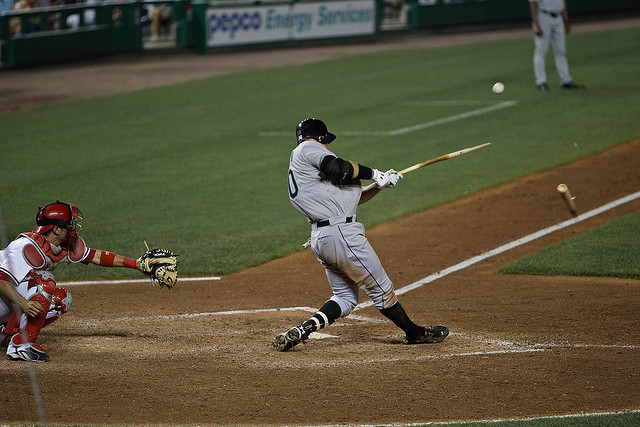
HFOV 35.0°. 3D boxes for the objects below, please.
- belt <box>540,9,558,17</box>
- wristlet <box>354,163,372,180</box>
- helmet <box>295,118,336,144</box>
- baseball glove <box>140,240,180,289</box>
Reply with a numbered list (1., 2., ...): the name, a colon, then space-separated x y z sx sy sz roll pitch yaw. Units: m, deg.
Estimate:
1. belt: 4.191 -3.684 18.588 0.192 0.055 0.147 17 7 0
2. wristlet: 0.574 -0.549 13.490 0.225 0.213 0.315 -1 9 7
3. helmet: 0.027 -1.126 13.691 0.590 0.283 0.384 -1 6 5
4. baseball glove: -2.197 0.763 13.865 0.506 0.549 0.255 -4 11 -6
